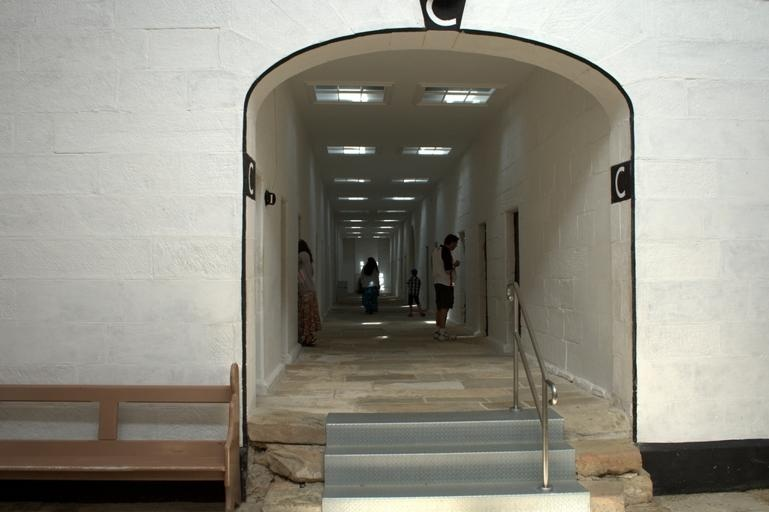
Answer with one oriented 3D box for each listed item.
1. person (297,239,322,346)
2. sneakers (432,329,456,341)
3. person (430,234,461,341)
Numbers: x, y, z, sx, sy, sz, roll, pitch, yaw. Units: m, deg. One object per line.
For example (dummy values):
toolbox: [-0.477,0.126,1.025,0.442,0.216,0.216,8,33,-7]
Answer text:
person: [-1.273,0.609,10.047,0.294,1.277,0.786,0,0,-3]
sneakers: [1.022,1.419,10.825,0.491,0.201,0.171,-2,0,1]
person: [1.050,0.547,10.550,0.429,1.873,1.175,0,0,5]
